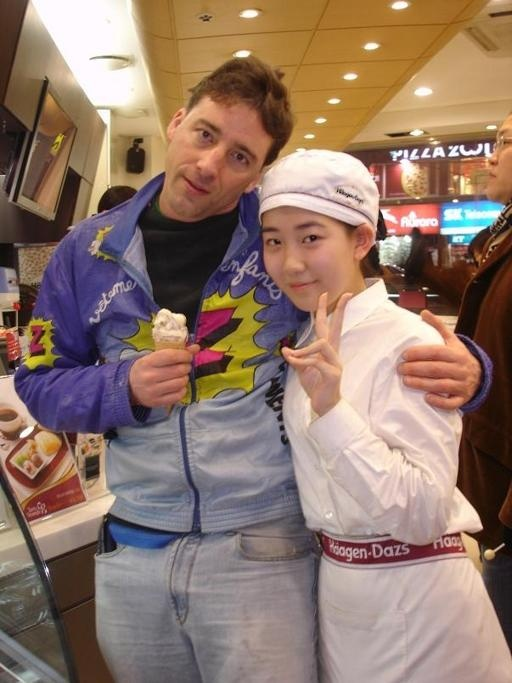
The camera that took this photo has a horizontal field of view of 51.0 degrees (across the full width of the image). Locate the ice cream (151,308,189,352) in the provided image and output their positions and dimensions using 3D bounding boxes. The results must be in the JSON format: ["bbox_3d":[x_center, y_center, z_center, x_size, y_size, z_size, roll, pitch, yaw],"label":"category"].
[{"bbox_3d":[-0.183,-0.026,1.136,0.105,0.124,0.077,0,-1,-8],"label":"ice cream"}]

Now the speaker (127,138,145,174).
[{"bbox_3d":[-1.768,-2.754,7.920,0.283,0.491,0.186,0,8,-10],"label":"speaker"}]

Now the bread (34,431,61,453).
[{"bbox_3d":[-0.607,0.294,1.562,0.054,0.024,0.069,33,16,-5],"label":"bread"}]

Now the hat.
[{"bbox_3d":[0.130,-0.283,1.104,0.196,0.111,0.189,10,11,9],"label":"hat"}]
